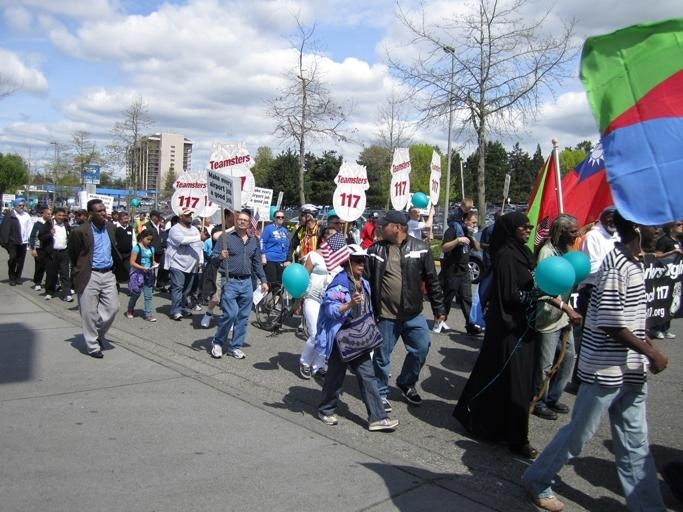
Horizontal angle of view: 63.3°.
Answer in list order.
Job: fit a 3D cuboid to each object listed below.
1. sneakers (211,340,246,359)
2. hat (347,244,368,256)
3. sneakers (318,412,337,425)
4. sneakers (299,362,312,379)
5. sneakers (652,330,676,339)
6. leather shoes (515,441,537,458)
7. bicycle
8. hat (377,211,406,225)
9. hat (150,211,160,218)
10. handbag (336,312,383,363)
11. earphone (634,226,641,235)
[{"bbox_3d":[-1.716,1.425,8.407,0.604,0.304,0.222,0,7,16],"label":"sneakers"},{"bbox_3d":[0.182,-0.078,6.299,0.192,0.105,0.416,4,6,4],"label":"hat"},{"bbox_3d":[-0.139,1.836,6.275,0.222,0.111,0.098,-1,-1,31],"label":"sneakers"},{"bbox_3d":[-0.460,1.466,7.114,0.149,0.160,0.419,12,-11,-10],"label":"sneakers"},{"bbox_3d":[5.859,1.430,10.103,0.403,0.193,0.152,-2,3,21],"label":"sneakers"},{"bbox_3d":[1.866,1.985,5.666,0.116,0.118,0.255,0,-6,-31],"label":"leather shoes"},{"bbox_3d":[-1.123,1.038,10.479,1.246,0.829,0.627,8,-3,45],"label":"bicycle"},{"bbox_3d":[0.635,-0.457,6.610,0.239,0.131,0.179,-1,0,9],"label":"hat"},{"bbox_3d":[-4.549,-1.053,13.586,0.175,0.184,0.142,-16,27,-36],"label":"hat"},{"bbox_3d":[0.181,0.891,6.089,0.435,0.486,0.176,-22,-4,-17],"label":"handbag"},{"bbox_3d":[2.504,-0.217,4.703,0.047,0.072,0.024,-20,1,-7],"label":"earphone"}]
